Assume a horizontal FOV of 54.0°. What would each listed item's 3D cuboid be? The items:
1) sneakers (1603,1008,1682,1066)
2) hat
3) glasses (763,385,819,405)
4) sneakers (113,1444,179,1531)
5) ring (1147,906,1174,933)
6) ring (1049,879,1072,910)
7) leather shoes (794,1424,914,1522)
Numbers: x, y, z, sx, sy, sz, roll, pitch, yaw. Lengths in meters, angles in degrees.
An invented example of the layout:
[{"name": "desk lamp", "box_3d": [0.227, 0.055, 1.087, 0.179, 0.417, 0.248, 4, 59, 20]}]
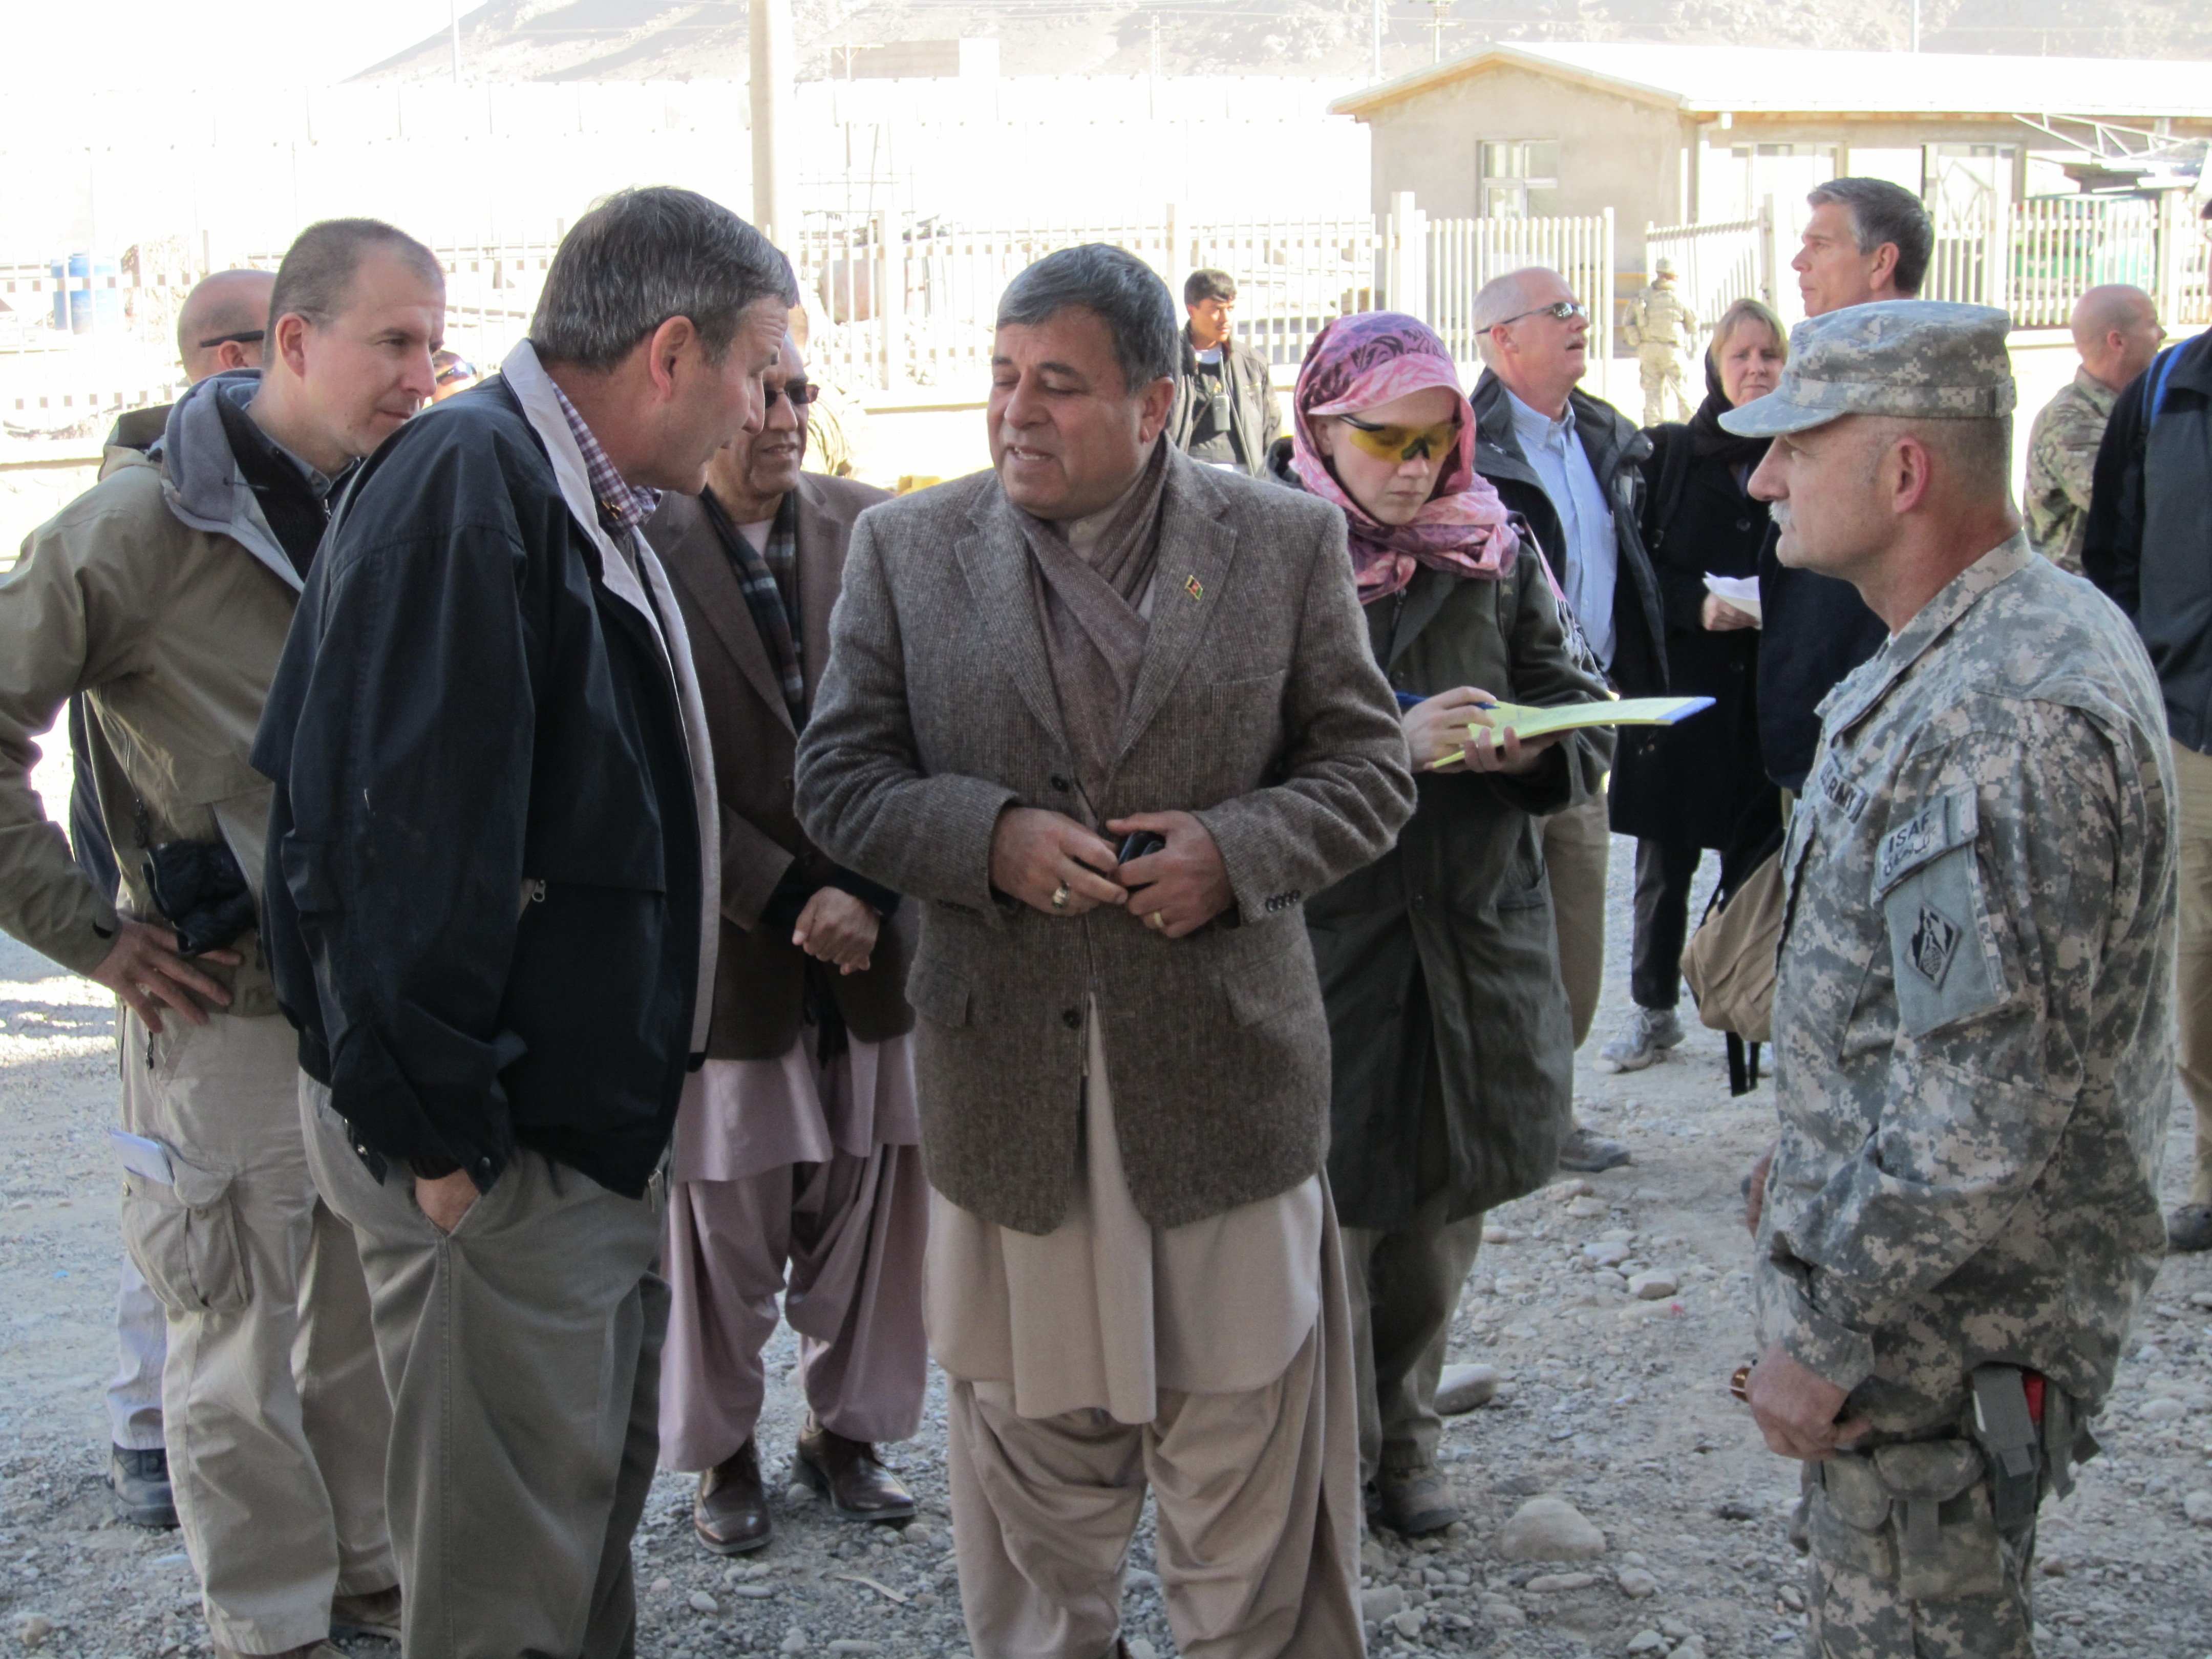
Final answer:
[{"name": "sneakers", "box_3d": [1.745, 0.694, 7.159, 0.307, 0.238, 0.129, -1, 3, -8]}, {"name": "hat", "box_3d": [1.170, -0.678, 3.257, 0.299, 0.134, 0.246, -4, 10, 15]}, {"name": "glasses", "box_3d": [-0.639, -0.857, 4.310, 0.074, 0.025, 0.078, -5, 4, 29]}, {"name": "sneakers", "box_3d": [-2.006, 1.385, 4.585, 0.157, 0.166, 0.161, -1, 6, -22]}, {"name": "ring", "box_3d": [0.083, 0.154, 3.494, 0.026, 0.015, 0.038, 17, -33, 26]}, {"name": "ring", "box_3d": [-0.072, 0.106, 3.470, 0.026, 0.041, 0.021, 23, 34, 27]}, {"name": "leather shoes", "box_3d": [-0.542, 1.384, 4.699, 0.113, 0.159, 0.321, -1, 0, -34]}]
